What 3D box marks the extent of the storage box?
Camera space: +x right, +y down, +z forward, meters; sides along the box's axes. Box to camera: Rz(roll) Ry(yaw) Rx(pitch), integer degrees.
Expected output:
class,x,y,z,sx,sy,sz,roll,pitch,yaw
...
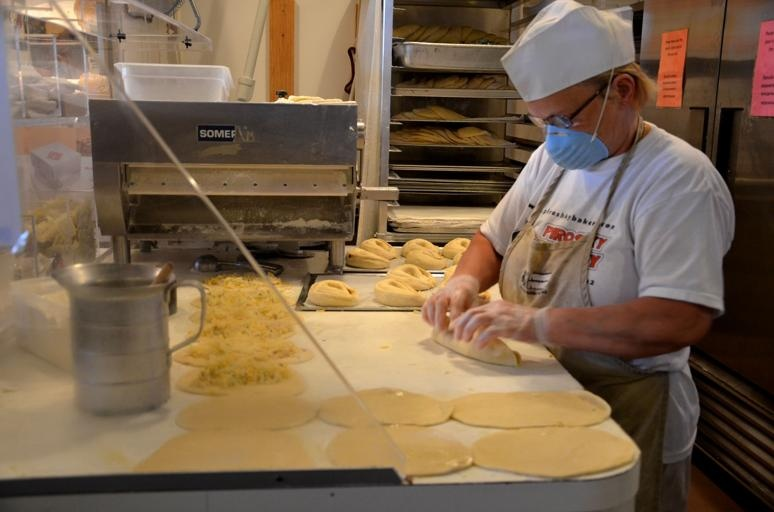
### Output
class,x,y,z,sx,sy,sz,roll,pitch,yaw
storage box,-0.668,-0.538,1.980,0.321,0.113,0.112,-7,15,-33

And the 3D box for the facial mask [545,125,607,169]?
class,x,y,z,sx,sy,sz,roll,pitch,yaw
facial mask,0.536,-0.313,1.840,0.146,0.078,0.132,-11,31,-26

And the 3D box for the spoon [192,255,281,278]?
class,x,y,z,sx,sy,sz,roll,pitch,yaw
spoon,-0.407,0.031,1.671,0.199,0.036,0.216,-5,13,-30
